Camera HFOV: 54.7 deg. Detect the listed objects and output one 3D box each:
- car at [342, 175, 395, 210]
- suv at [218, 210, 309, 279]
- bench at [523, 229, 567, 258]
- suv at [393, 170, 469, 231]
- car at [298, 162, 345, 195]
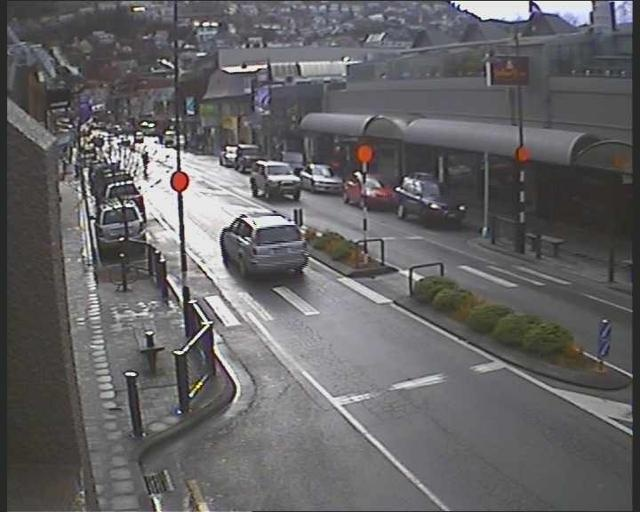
[{"bbox_3d":[2.210,-3.001,29.384,1.170,1.125,2.520,-5,11,-24],"label":"car"},{"bbox_3d":[-2.021,-0.408,20.767,1.617,1.513,3.068,-5,19,-21],"label":"suv"},{"bbox_3d":[8.581,-0.440,23.659,1.388,0.941,0.947,-7,10,-15],"label":"bench"},{"bbox_3d":[4.744,-2.314,26.879,1.426,2.148,3.089,-10,11,-30],"label":"suv"},{"bbox_3d":[-0.056,-4.006,31.940,1.073,0.943,2.515,-4,16,-21],"label":"car"}]
